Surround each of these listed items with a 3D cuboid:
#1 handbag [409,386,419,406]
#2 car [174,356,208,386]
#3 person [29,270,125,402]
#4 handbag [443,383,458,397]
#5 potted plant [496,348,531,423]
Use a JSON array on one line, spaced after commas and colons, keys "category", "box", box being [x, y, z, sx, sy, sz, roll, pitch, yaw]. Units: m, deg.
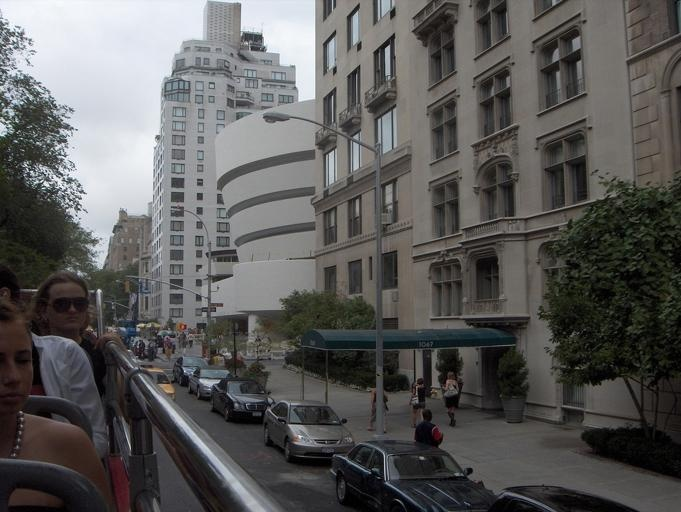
[{"category": "handbag", "box": [2.644, 4.969, 25.548, 0.259, 0.630, 0.733, -1, -11, 7]}, {"category": "car", "box": [-8.416, 6.267, 39.553, 1.175, 1.045, 2.688, 3, -9, -19]}, {"category": "person", "box": [-2.764, 0.821, 7.336, 0.847, 0.670, 1.235, 4, -26, -22]}, {"category": "handbag", "box": [4.195, 5.065, 27.001, 0.635, 0.689, 0.383, 3, -23, -4]}, {"category": "potted plant", "box": [6.496, 4.820, 26.987, 1.061, 2.762, 0.845, -1, -10, 6]}]
